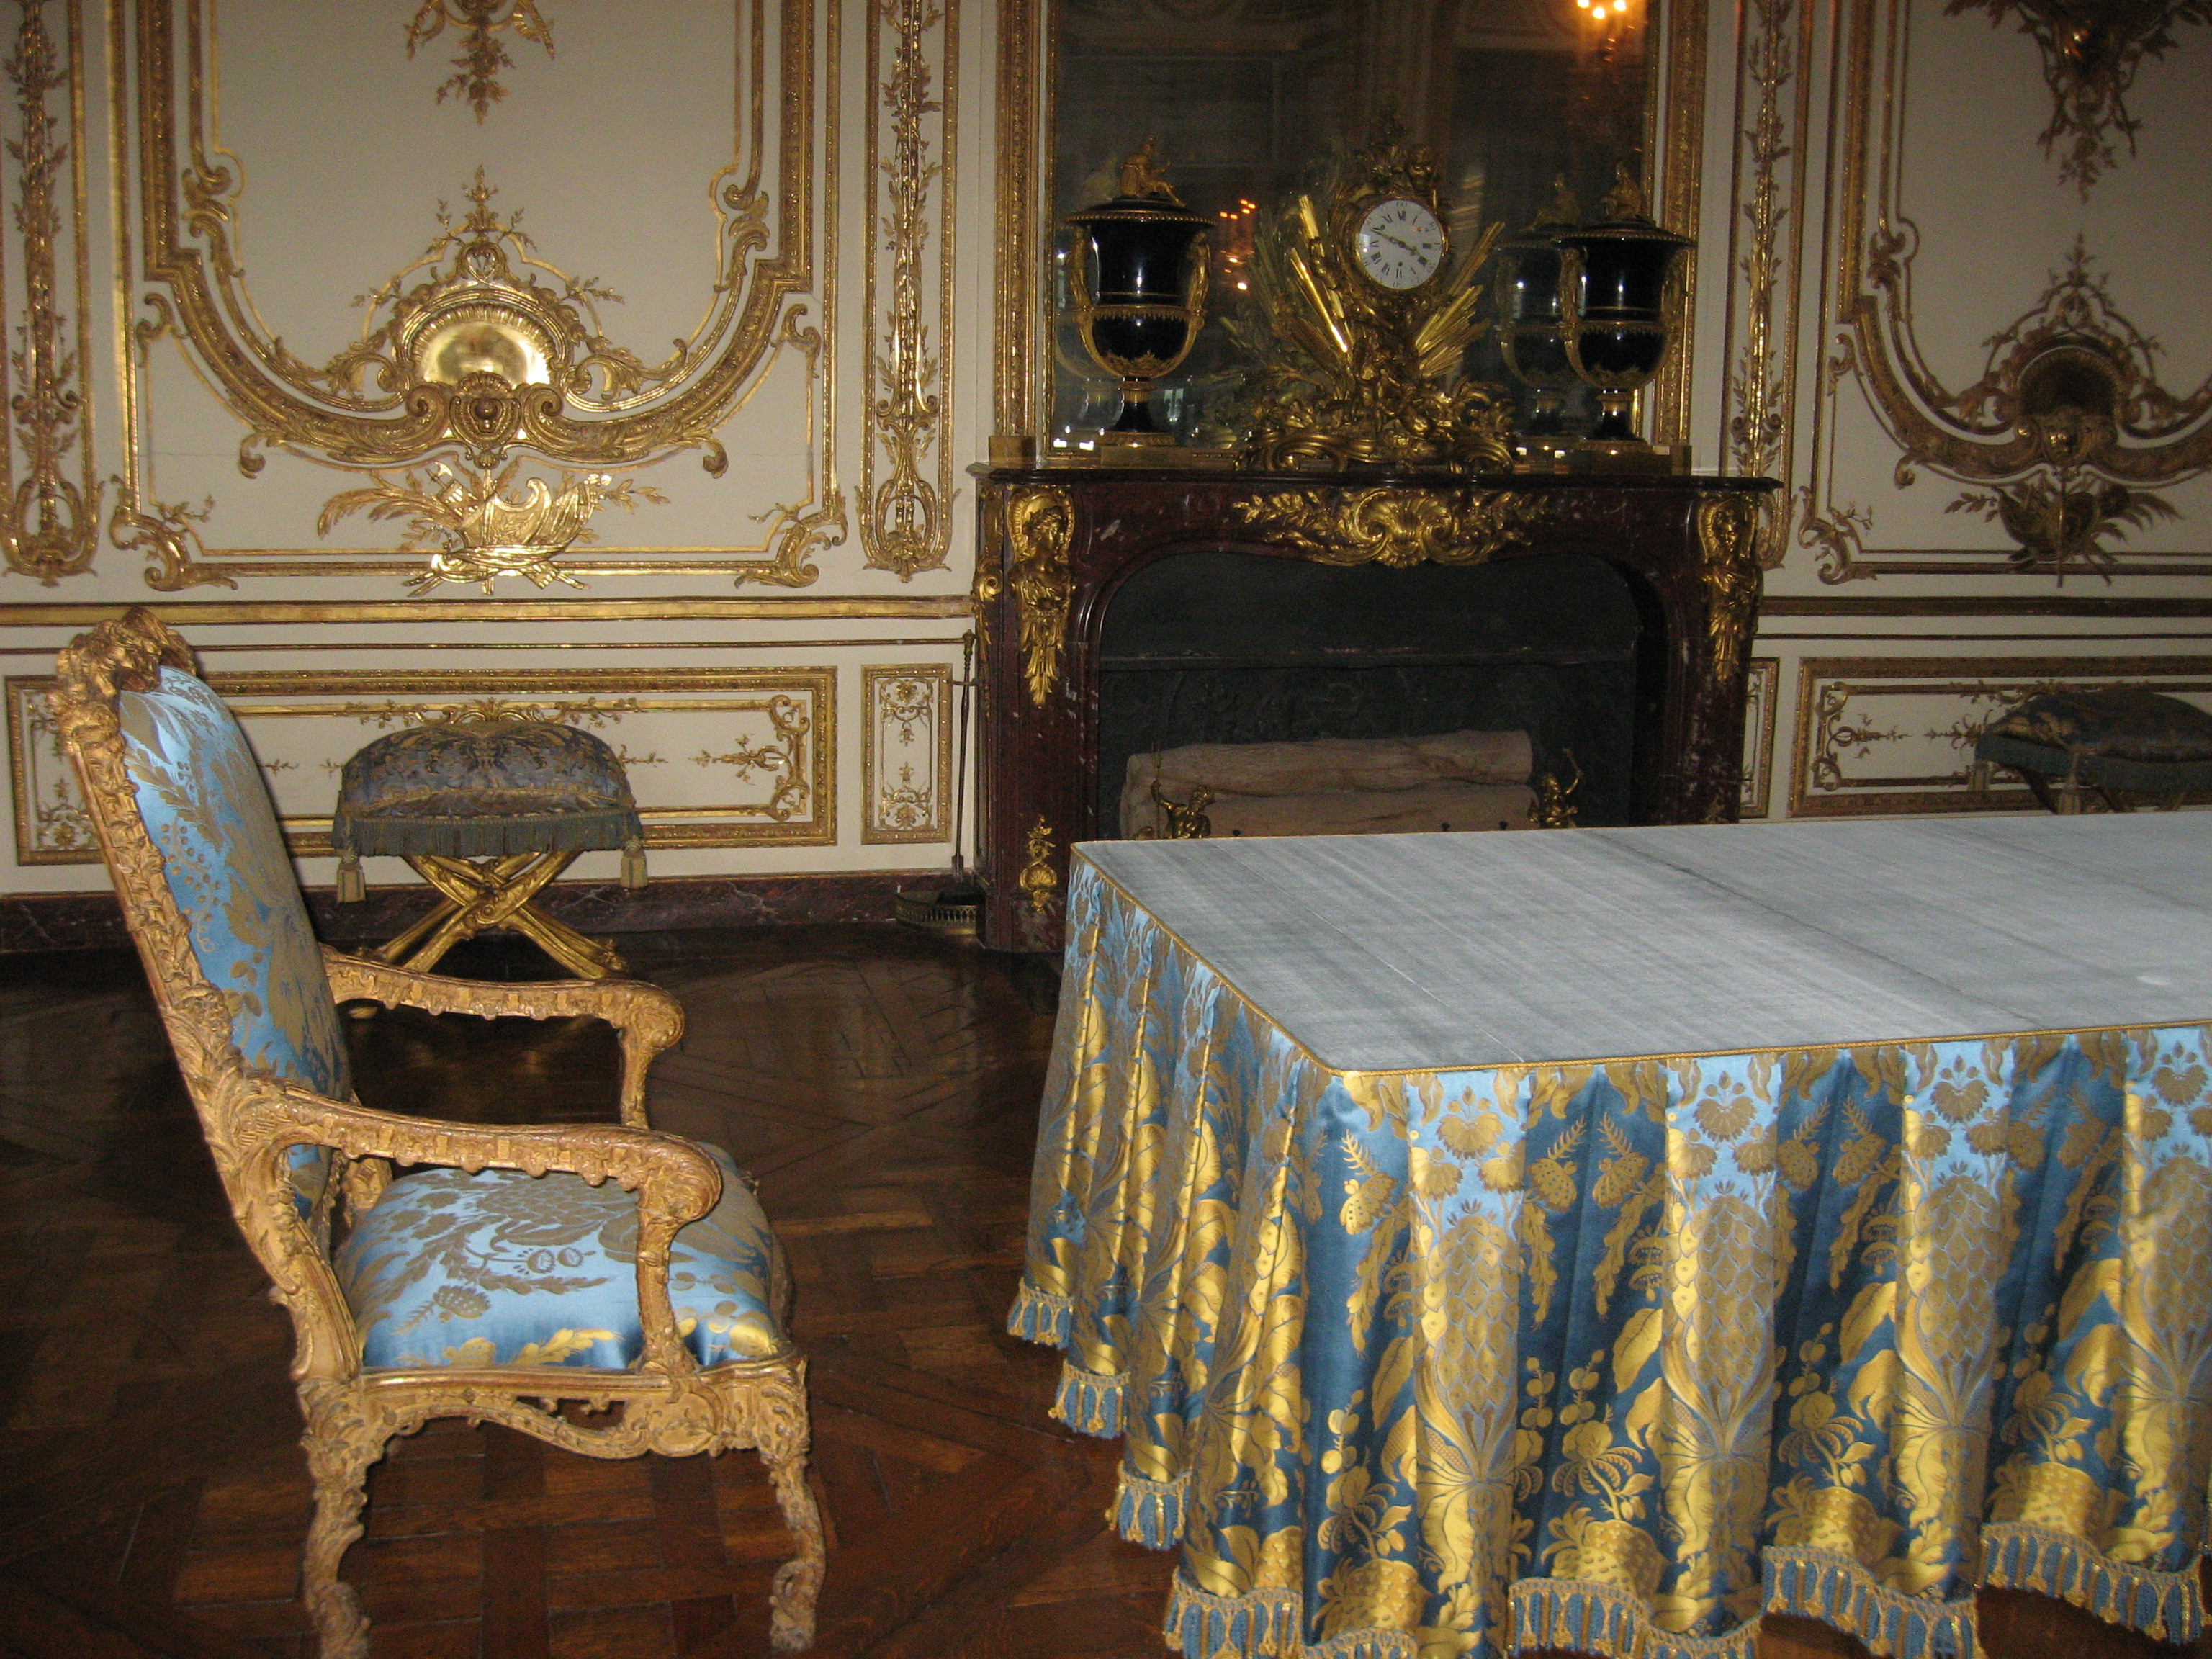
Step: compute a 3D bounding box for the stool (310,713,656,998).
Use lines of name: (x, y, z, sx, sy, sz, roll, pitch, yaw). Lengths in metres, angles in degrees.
stool: (-1.545, -0.022, 4.986, 0.845, 0.603, 0.847, 1, 6, -12)

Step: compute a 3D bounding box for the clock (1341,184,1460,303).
clock: (0.835, -1.661, 5.509, 0.288, 0.276, 0.274, 11, 7, -32)

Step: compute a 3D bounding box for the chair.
chair: (-0.823, 0.363, 2.493, 0.746, 1.301, 0.684, -6, 15, -13)
